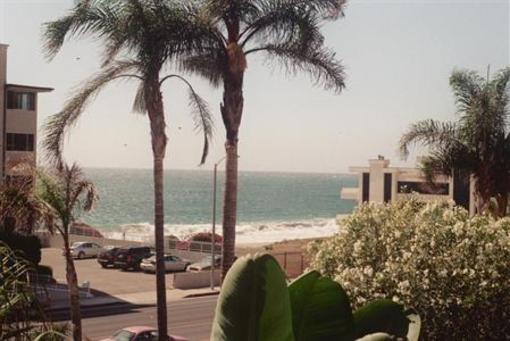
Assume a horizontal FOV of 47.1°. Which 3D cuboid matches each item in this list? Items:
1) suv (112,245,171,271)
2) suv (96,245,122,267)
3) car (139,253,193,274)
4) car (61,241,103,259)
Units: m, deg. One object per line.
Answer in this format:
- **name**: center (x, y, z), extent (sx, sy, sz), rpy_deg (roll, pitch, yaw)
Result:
- **suv**: center (-9.343, 7.175, 47.823), extent (1.885, 1.767, 3.798), rpy_deg (2, 5, 43)
- **suv**: center (-11.907, 7.034, 48.419), extent (1.084, 1.004, 2.459), rpy_deg (1, 7, 6)
- **car**: center (-6.962, 7.311, 45.851), extent (3.809, 1.364, 2.206), rpy_deg (1, -2, -13)
- **car**: center (-15.227, 7.163, 52.633), extent (2.532, 1.378, 1.448), rpy_deg (1, -2, -24)
